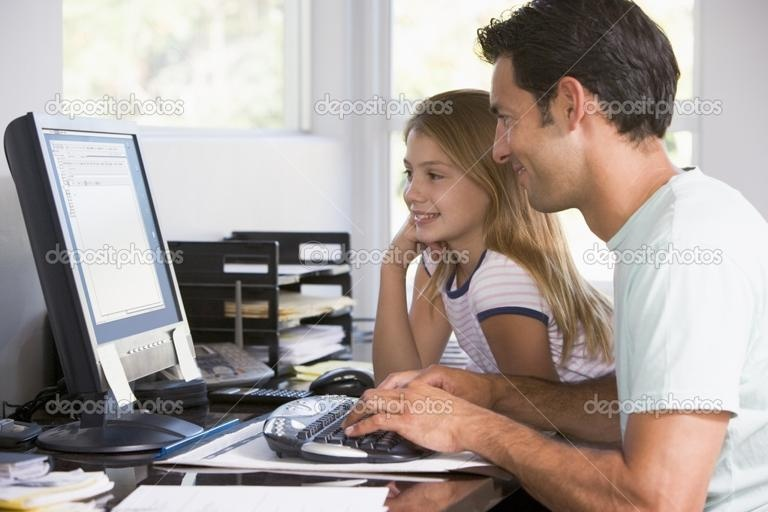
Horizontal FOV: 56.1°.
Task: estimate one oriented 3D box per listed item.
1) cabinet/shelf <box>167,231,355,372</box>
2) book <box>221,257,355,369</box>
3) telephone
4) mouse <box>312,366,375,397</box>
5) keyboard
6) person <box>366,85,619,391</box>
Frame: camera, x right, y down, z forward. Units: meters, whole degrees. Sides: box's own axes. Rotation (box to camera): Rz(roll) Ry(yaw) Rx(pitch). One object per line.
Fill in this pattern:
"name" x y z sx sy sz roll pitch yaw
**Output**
"cabinet/shelf" -0.323 0.109 1.734 0.400 0.323 0.503 -2 -1 9
"book" -0.163 0.088 1.531 0.239 0.243 0.253 1 4 26
"telephone" -0.334 0.156 1.551 0.225 0.248 0.205 2 1 -25
"mouse" -0.079 0.261 1.465 0.106 0.035 0.060 3 -2 2
"keyboard" -0.082 0.293 1.178 0.159 0.035 0.130 0 9 17
"person" 0.231 -0.066 1.658 0.581 0.728 0.436 0 8 -3
